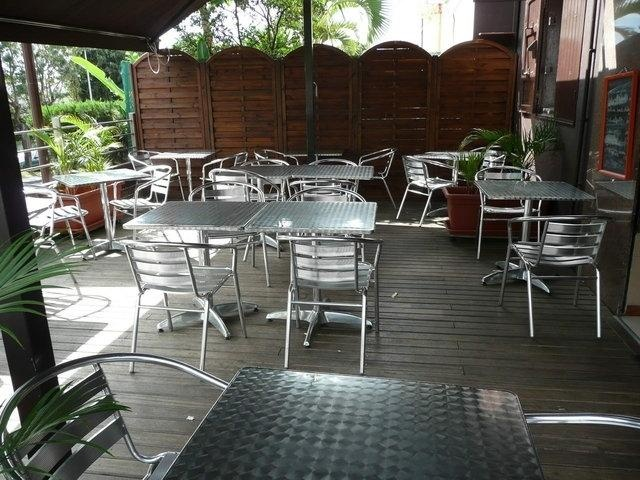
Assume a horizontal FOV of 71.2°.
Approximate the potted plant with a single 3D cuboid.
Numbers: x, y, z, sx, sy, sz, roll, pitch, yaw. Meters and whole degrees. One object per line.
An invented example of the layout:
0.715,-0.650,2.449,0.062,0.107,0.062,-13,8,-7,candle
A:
-3.571,-1.052,6.980,1.206,1.453,1.514,2,23,45,potted plant
